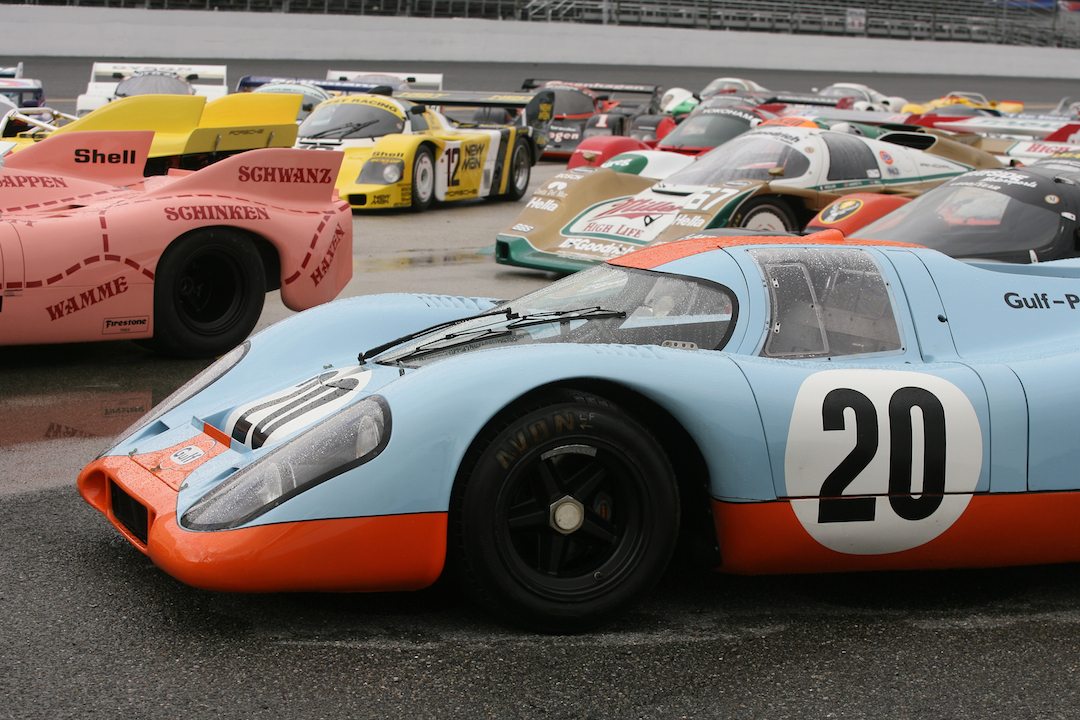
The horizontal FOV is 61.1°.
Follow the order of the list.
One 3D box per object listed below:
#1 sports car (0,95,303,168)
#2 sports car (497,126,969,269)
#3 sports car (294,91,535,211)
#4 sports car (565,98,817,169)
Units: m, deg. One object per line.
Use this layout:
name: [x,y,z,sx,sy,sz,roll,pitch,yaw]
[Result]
sports car: [-3.411,-2.233,8.587,2.714,0.580,1.354,-3,11,-26]
sports car: [2.228,-1.798,9.873,4.336,0.787,2.325,-4,5,-32]
sports car: [-1.765,-3.445,15.020,2.864,1.142,4.739,4,6,38]
sports car: [2.487,-3.255,13.439,2.906,0.853,3.761,11,29,14]
